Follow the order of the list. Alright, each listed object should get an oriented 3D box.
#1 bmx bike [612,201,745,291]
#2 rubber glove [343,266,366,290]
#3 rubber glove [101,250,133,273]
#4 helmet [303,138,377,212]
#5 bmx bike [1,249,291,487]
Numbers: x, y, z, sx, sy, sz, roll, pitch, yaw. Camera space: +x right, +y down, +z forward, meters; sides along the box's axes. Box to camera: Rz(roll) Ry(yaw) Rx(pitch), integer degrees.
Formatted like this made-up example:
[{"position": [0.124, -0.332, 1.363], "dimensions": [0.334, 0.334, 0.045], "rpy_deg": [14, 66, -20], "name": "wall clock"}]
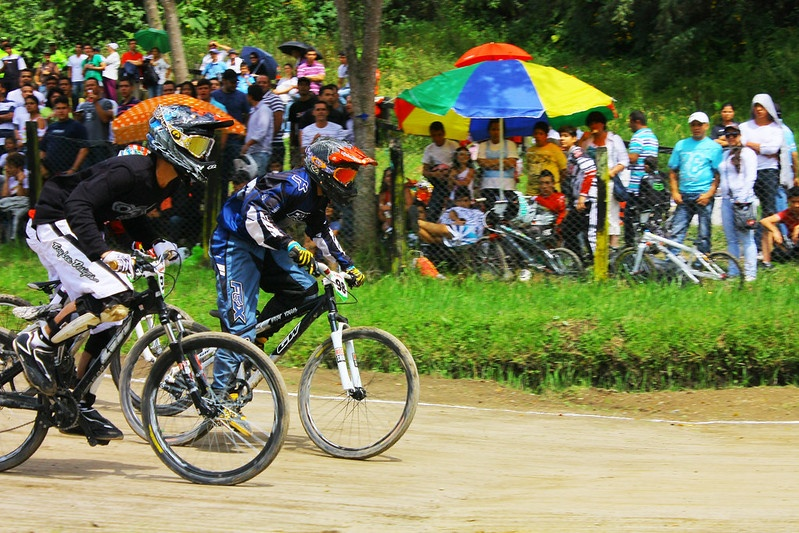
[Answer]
[{"position": [3.902, -0.212, 15.811], "dimensions": [2.830, 1.109, 0.805], "rpy_deg": [0, 0, 11], "name": "bmx bike"}, {"position": [-0.563, 0.124, 12.339], "dimensions": [0.284, 0.115, 0.197], "rpy_deg": [25, 1, 33], "name": "rubber glove"}, {"position": [-2.802, -0.038, 11.295], "dimensions": [0.325, 0.118, 0.203], "rpy_deg": [11, -29, 37], "name": "rubber glove"}, {"position": [-0.642, -1.066, 12.315], "dimensions": [0.859, 0.537, 0.552], "rpy_deg": [25, 22, 29], "name": "helmet"}, {"position": [-3.389, 1.262, 11.441], "dimensions": [4.523, 1.794, 1.690], "rpy_deg": [0, -2, 7], "name": "bmx bike"}]
